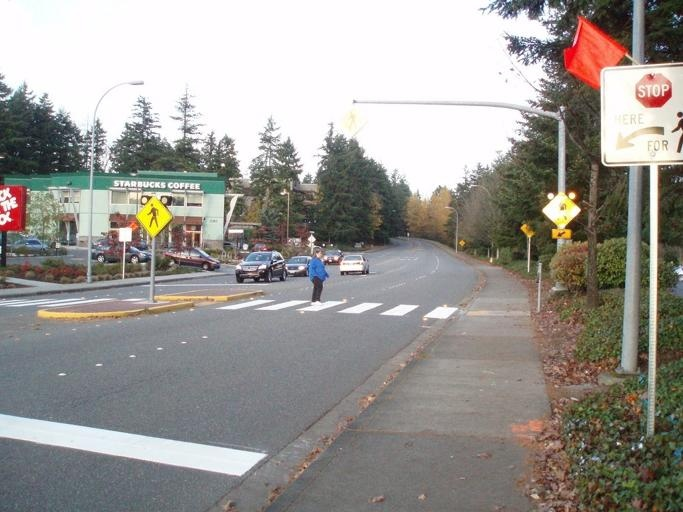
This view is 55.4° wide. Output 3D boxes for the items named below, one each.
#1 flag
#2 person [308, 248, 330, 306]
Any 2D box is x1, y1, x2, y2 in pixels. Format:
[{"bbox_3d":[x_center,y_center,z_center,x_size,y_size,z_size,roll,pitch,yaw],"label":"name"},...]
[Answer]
[{"bbox_3d":[3.900,-3.196,9.912,0.971,1.061,0.275,32,-9,45],"label":"flag"},{"bbox_3d":[-0.804,0.696,22.020,0.544,1.743,1.914,0,1,-1],"label":"person"}]
